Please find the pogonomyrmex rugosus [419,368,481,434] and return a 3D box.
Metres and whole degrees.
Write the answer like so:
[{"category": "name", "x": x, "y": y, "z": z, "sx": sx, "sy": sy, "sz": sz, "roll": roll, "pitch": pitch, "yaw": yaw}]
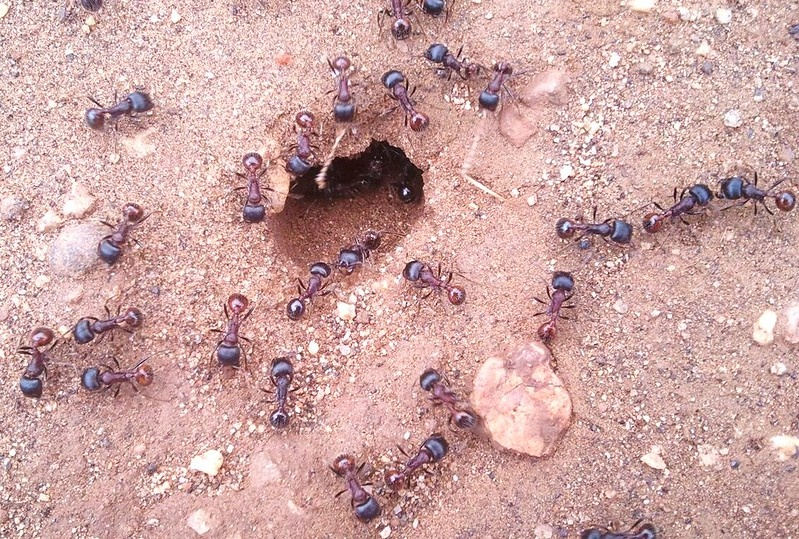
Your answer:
[{"category": "pogonomyrmex rugosus", "x": 0.675, "y": 1.726, "z": 10.974, "sx": 0.886, "sy": 0.304, "sz": 0.625, "roll": 50, "pitch": 53, "yaw": -7}]
